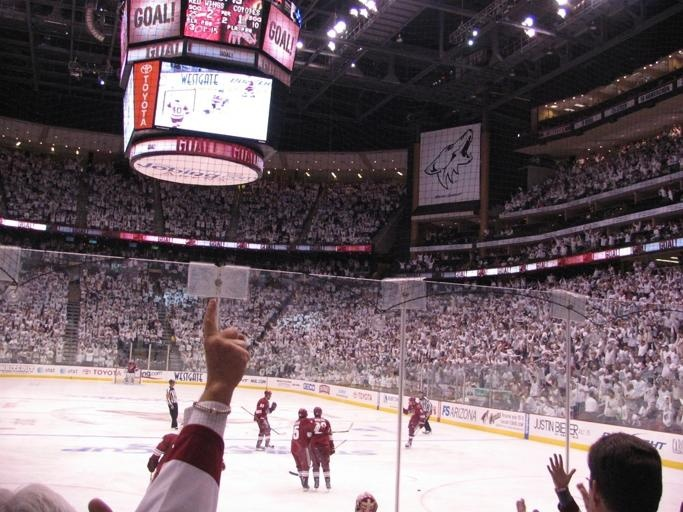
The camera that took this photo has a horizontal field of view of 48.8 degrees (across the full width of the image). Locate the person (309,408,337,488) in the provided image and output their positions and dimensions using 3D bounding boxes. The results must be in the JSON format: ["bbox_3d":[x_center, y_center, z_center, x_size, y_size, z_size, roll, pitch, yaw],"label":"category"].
[{"bbox_3d":[-0.590,5.122,20.333,0.842,2.130,0.641,-2,-16,-11],"label":"person"}]

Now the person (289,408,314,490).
[{"bbox_3d":[-1.071,5.200,20.455,0.698,2.074,0.577,1,-4,-23],"label":"person"}]
